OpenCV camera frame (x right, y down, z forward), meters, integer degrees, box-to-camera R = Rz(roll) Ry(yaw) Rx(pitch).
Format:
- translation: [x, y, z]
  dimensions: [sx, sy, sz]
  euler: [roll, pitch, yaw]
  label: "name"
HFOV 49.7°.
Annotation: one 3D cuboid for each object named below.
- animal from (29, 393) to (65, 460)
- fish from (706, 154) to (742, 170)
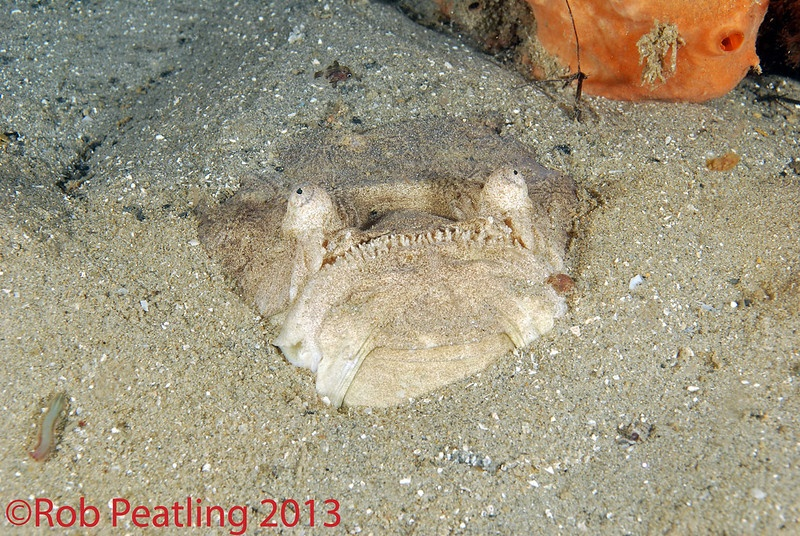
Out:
- translation: [-2.932, 1.318, 7.245]
  dimensions: [0.168, 0.090, 0.565]
  euler: [11, 69, -17]
  label: "animal"
- translation: [2.934, -0.954, 7.855]
  dimensions: [0.242, 0.065, 0.153]
  euler: [-20, 78, 6]
  label: "fish"
